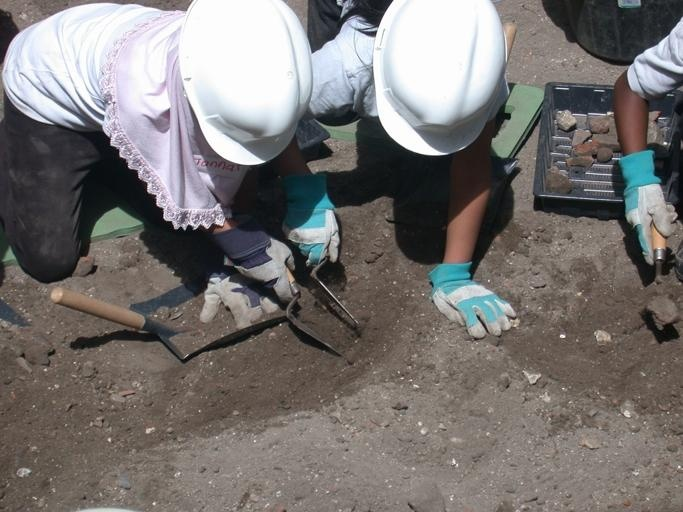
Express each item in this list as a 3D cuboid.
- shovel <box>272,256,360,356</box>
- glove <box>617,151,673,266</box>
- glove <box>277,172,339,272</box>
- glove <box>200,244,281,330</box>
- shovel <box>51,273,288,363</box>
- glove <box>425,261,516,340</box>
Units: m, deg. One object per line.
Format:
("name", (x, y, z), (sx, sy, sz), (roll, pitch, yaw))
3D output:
("shovel", (-0.122, 0.272, 4.325), (0.331, 0.074, 0.536), (-41, 75, -16))
("glove", (1.541, -0.276, 4.203), (0.279, 0.231, 0.576), (-4, 66, 9))
("glove", (-0.161, -0.184, 4.282), (0.293, 0.140, 0.486), (-12, 83, -3))
("glove", (-0.591, 0.226, 4.438), (0.417, 0.115, 0.305), (45, 82, 0))
("shovel", (-0.923, 0.230, 4.257), (0.550, 1.047, 0.251), (37, 99, 44))
("glove", (0.668, 0.235, 4.278), (0.315, 0.194, 0.445), (-37, 62, -24))
